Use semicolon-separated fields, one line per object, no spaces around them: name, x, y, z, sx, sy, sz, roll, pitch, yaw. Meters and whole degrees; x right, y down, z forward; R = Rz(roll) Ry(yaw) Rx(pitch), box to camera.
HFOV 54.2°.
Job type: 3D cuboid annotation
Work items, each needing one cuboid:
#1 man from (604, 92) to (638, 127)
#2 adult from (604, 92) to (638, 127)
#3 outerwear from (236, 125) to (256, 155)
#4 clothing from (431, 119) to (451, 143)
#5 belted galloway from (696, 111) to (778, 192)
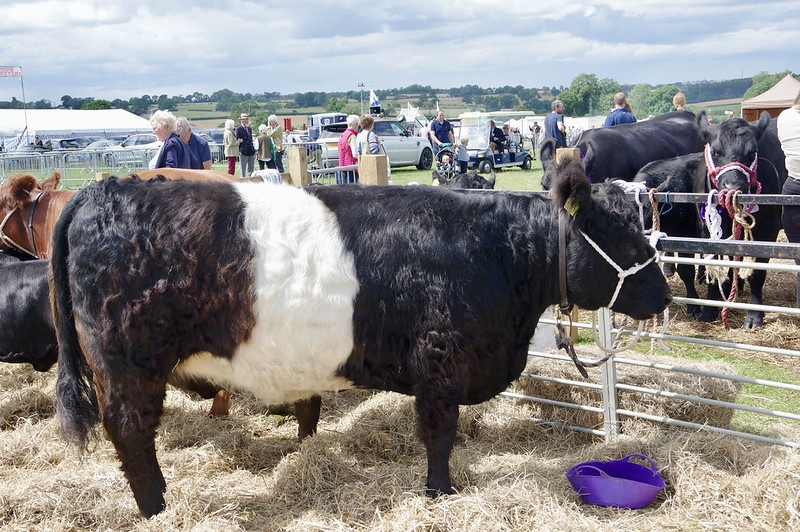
man;3.994;-2.647;14.226;0.589;1.002;0.455;0;13;11
adult;3.980;-2.652;14.235;0.590;1.006;0.486;0;13;9
outerwear;-3.517;-2.835;17.742;0.334;0.709;0.494;12;24;26
clothing;1.097;-3.632;21.096;0.639;0.772;0.382;-7;7;-30
belted galloway;3.976;-1.250;9.137;0.598;1.082;1.843;-4;-2;30
